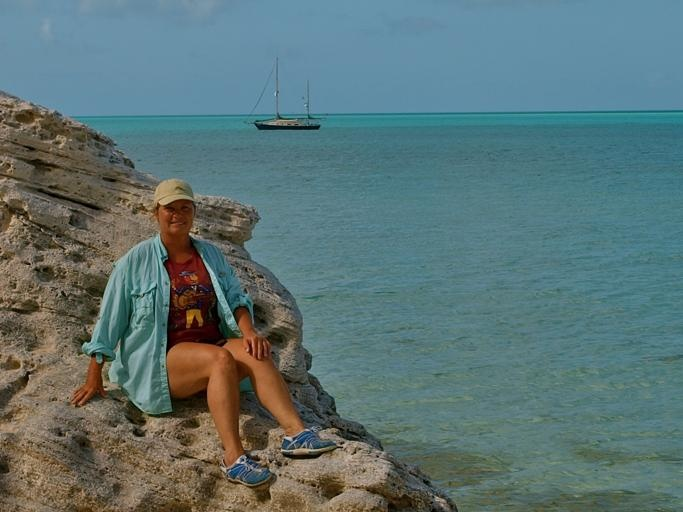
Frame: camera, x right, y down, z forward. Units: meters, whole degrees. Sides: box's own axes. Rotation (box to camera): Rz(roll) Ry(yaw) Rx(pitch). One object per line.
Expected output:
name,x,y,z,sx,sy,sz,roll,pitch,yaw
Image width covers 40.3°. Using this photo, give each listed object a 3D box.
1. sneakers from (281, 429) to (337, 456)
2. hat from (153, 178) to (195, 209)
sneakers,-0.414,2.152,10.685,0.755,0.257,0.253,0,-6,4
hat,-2.026,-0.751,11.088,0.476,0.346,0.298,-1,-1,23
